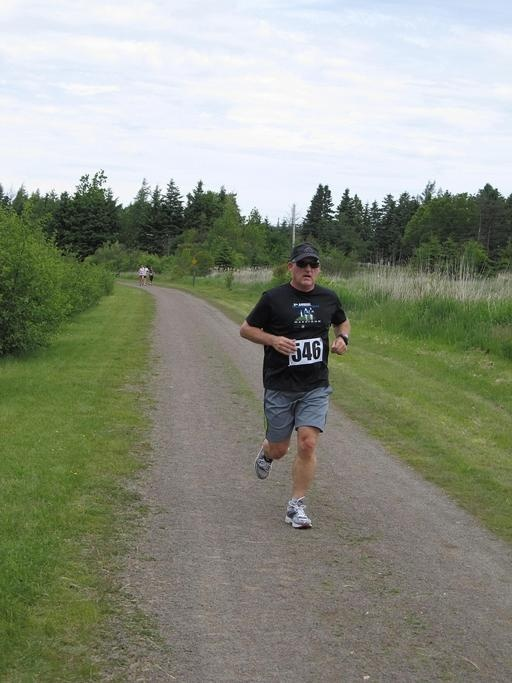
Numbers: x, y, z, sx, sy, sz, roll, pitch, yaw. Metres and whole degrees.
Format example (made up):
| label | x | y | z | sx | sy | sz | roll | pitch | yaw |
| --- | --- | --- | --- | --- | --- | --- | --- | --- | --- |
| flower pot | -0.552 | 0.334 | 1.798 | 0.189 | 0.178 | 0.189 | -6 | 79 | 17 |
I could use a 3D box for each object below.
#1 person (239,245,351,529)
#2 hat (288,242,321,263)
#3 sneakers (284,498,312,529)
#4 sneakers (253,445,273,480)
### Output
| label | x | y | z | sx | sy | sz | roll | pitch | yaw |
| --- | --- | --- | --- | --- | --- | --- | --- | --- | --- |
| person | 0.269 | 0.307 | 5.557 | 0.757 | 2.120 | 0.714 | 6 | 6 | 14 |
| hat | 0.358 | -0.662 | 5.292 | 0.203 | 0.152 | 0.289 | 5 | 5 | 2 |
| sneakers | 0.318 | 1.292 | 5.359 | 0.202 | 0.202 | 0.171 | 5 | 6 | 1 |
| sneakers | 0.080 | 1.069 | 6.132 | 0.129 | 0.339 | 0.148 | 0 | 11 | -25 |
